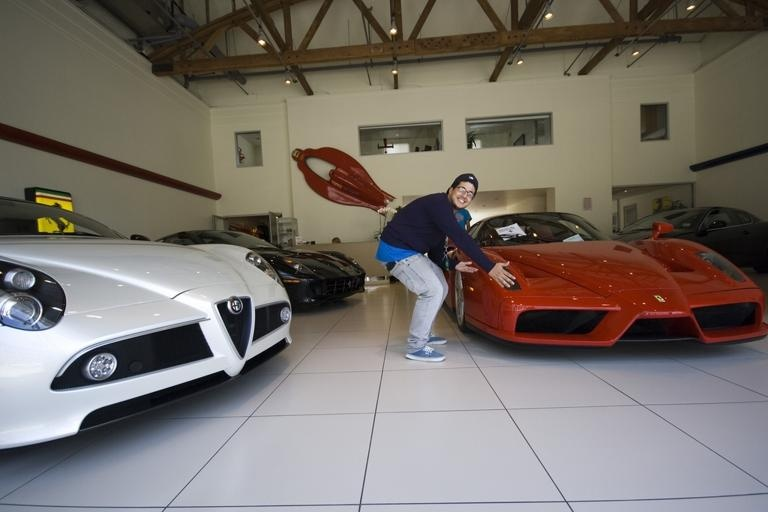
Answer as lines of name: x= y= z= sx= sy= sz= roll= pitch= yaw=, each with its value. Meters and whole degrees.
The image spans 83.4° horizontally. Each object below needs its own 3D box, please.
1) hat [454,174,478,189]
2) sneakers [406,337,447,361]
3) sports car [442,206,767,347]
hat: x=0.580 y=-0.539 z=3.128 sx=0.174 sy=0.133 sz=0.275 roll=-2 pitch=4 yaw=9
sneakers: x=0.319 y=0.682 z=3.192 sx=0.276 sy=0.096 sz=0.358 roll=-2 pitch=4 yaw=10
sports car: x=1.530 y=0.192 z=3.156 sx=1.909 sy=0.821 sz=1.139 roll=-2 pitch=4 yaw=8
